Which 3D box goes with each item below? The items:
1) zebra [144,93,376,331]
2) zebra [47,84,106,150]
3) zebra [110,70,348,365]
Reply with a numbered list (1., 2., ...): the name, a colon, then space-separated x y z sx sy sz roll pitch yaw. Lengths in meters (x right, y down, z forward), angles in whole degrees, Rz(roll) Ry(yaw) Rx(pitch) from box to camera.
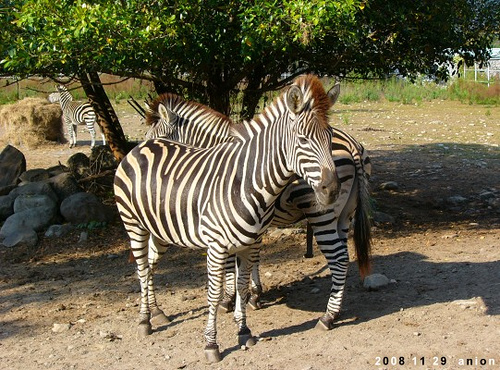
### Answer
1. zebra: -0.378 0.534 7.573 3.618 3.067 1.176 0 4 40
2. zebra: -4.795 -1.847 16.699 2.094 1.569 0.585 13 11 24
3. zebra: -0.283 0.349 6.746 2.672 2.936 0.919 1 14 26
